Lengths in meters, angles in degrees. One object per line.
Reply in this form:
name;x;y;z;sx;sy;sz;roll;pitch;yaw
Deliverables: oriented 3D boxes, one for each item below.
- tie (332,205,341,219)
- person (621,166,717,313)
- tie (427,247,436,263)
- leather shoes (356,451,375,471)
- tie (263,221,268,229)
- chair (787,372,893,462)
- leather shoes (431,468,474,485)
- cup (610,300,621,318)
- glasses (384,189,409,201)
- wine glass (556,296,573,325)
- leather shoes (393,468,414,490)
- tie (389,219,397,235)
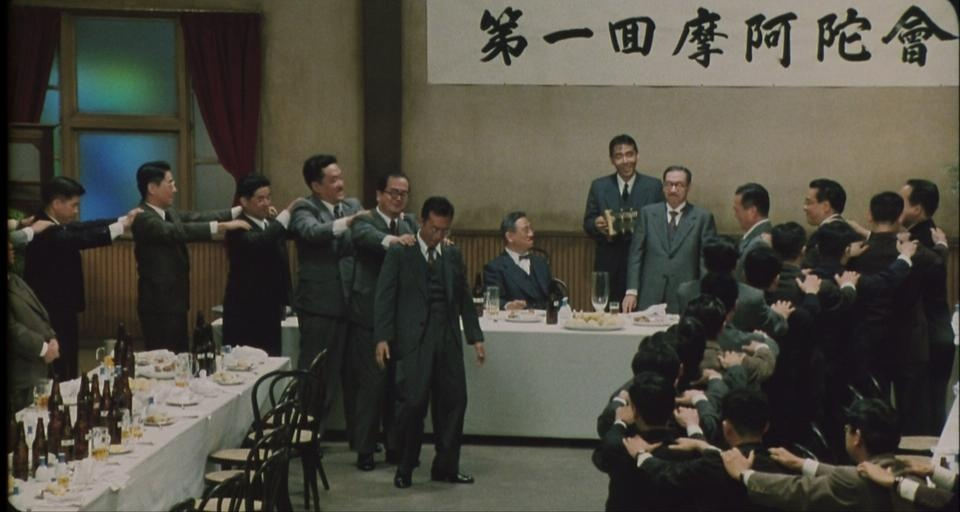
tie;-1.401;-0.440;8.949;0.088;0.116;0.031;-2;-3;-20
person;2.004;0.194;9.563;0.952;2.120;0.681;3;20;10
tie;-0.446;-0.015;8.390;0.092;0.117;0.029;1;4;-13
leather shoes;-1.095;1.952;8.689;0.197;0.170;0.138;-2;7;-8
tie;-2.121;-0.310;9.014;0.019;0.074;0.070;23;42;-7
chair;3.243;1.478;8.464;0.955;0.563;0.795;-1;-8;-26
leather shoes;-0.277;2.063;8.477;0.450;0.153;0.147;0;-1;2
cup;1.337;0.525;9.086;0.179;0.178;0.163;-1;5;0
glasses;-0.795;-0.589;8.660;0.204;0.101;0.073;-3;7;-21
wine glass;0.841;0.549;9.142;0.235;0.362;0.232;2;-1;6
leather shoes;-0.710;2.058;8.383;0.211;0.193;0.123;5;-6;7
tie;-0.836;-0.283;8.754;0.076;0.144;0.048;-4;8;-22
